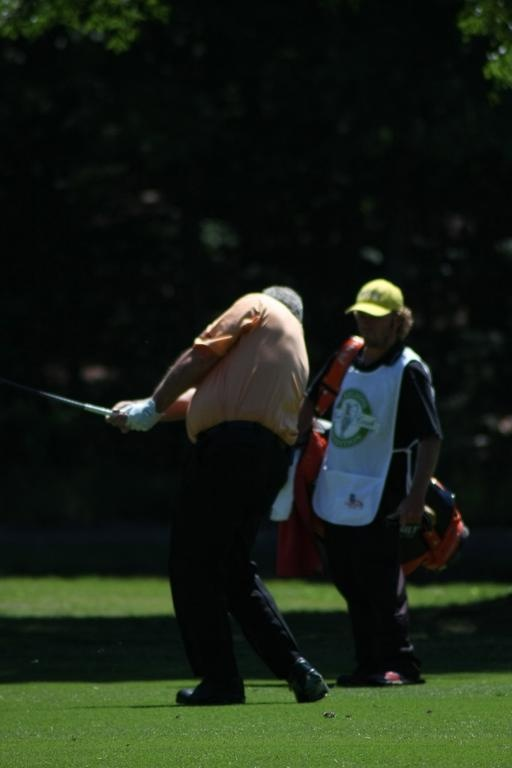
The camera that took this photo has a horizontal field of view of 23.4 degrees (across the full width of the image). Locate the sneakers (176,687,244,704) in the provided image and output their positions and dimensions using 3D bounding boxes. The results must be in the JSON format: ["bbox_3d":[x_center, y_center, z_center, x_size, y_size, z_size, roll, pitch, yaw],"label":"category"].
[{"bbox_3d":[-0.169,1.185,4.668,0.248,0.089,0.089,5,-17,3],"label":"sneakers"}]

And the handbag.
[{"bbox_3d":[0.470,0.540,5.609,0.839,0.680,0.549,-1,9,-6],"label":"handbag"}]

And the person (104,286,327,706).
[{"bbox_3d":[-0.126,0.437,4.727,0.700,1.543,0.414,-3,5,-5],"label":"person"}]

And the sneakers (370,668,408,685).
[{"bbox_3d":[0.575,1.260,5.263,0.154,0.047,0.130,-1,4,5],"label":"sneakers"}]

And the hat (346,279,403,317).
[{"bbox_3d":[0.549,-0.377,5.468,0.167,0.114,0.236,4,0,39],"label":"hat"}]

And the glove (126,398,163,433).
[{"bbox_3d":[-0.436,0.126,4.805,0.115,0.105,0.147,-4,2,-7],"label":"glove"}]

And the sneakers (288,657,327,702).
[{"bbox_3d":[0.191,1.133,4.704,0.131,0.143,0.164,3,-21,-4],"label":"sneakers"}]
